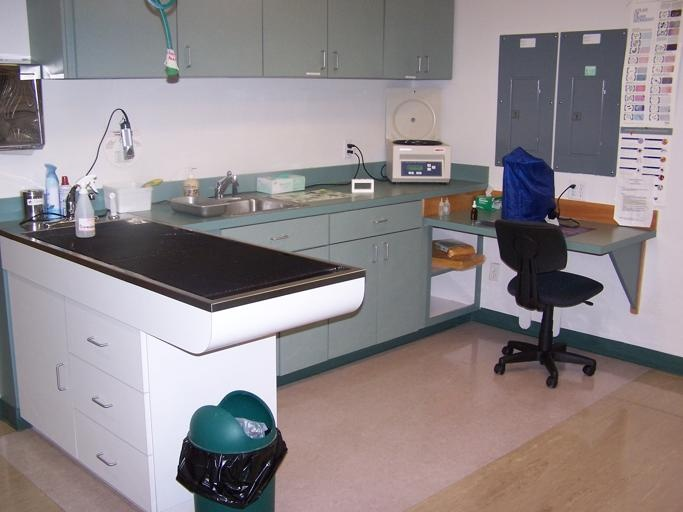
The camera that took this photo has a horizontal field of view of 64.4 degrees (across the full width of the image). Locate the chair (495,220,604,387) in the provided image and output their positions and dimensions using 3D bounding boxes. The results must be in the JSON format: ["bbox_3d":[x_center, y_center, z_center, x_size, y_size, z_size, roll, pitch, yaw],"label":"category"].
[{"bbox_3d":[1.317,0.193,3.635,0.677,1.141,0.671,-4,15,-22],"label":"chair"}]

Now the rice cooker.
[{"bbox_3d":[0.602,-0.966,4.315,0.524,0.728,0.481,2,15,10],"label":"rice cooker"}]

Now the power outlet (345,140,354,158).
[{"bbox_3d":[0.061,-0.845,4.289,0.028,0.116,0.082,2,6,39],"label":"power outlet"}]

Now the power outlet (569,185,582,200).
[{"bbox_3d":[1.691,-0.463,3.912,0.034,0.101,0.101,-8,9,-39],"label":"power outlet"}]
